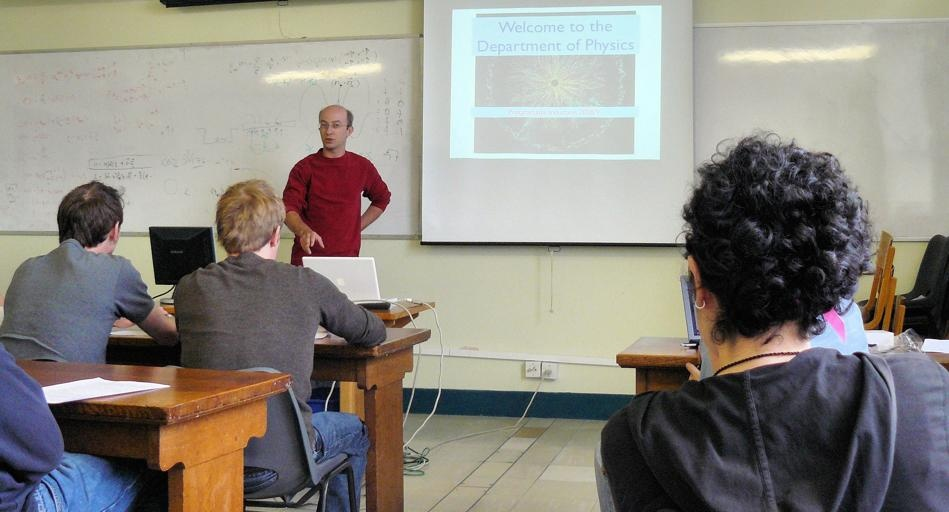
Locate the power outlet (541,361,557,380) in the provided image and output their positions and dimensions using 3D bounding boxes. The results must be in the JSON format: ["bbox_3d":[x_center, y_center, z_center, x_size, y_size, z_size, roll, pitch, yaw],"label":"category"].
[{"bbox_3d":[0.606,0.929,6.060,0.170,0.148,0.083,0,-1,4],"label":"power outlet"}]

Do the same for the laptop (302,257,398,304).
[{"bbox_3d":[-0.838,0.138,4.895,0.464,0.278,0.335,0,2,11],"label":"laptop"}]

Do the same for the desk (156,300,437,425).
[{"bbox_3d":[-0.970,0.544,3.879,0.887,0.491,0.822,4,10,21],"label":"desk"}]
